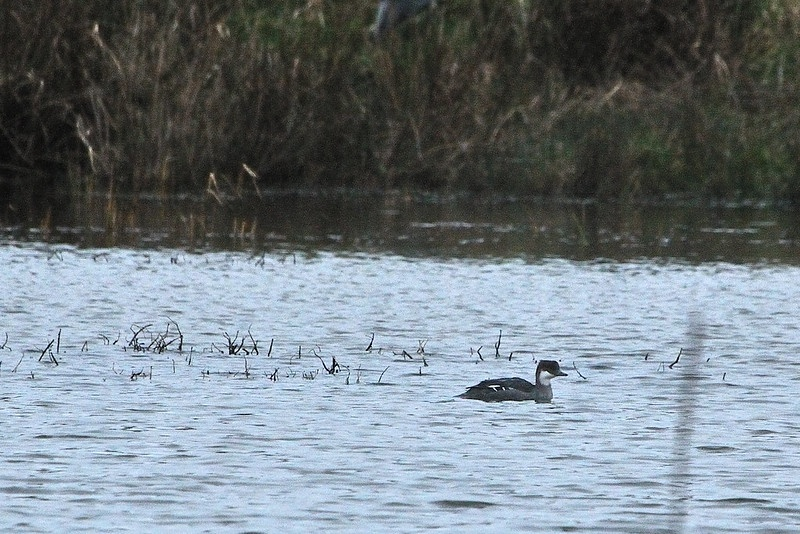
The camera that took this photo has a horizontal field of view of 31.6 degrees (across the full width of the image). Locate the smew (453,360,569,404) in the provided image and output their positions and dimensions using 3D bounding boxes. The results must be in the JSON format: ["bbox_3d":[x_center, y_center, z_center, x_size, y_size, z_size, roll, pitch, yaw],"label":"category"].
[{"bbox_3d":[1.087,1.164,13.715,1.147,0.587,0.357,4,14,31],"label":"smew"}]
